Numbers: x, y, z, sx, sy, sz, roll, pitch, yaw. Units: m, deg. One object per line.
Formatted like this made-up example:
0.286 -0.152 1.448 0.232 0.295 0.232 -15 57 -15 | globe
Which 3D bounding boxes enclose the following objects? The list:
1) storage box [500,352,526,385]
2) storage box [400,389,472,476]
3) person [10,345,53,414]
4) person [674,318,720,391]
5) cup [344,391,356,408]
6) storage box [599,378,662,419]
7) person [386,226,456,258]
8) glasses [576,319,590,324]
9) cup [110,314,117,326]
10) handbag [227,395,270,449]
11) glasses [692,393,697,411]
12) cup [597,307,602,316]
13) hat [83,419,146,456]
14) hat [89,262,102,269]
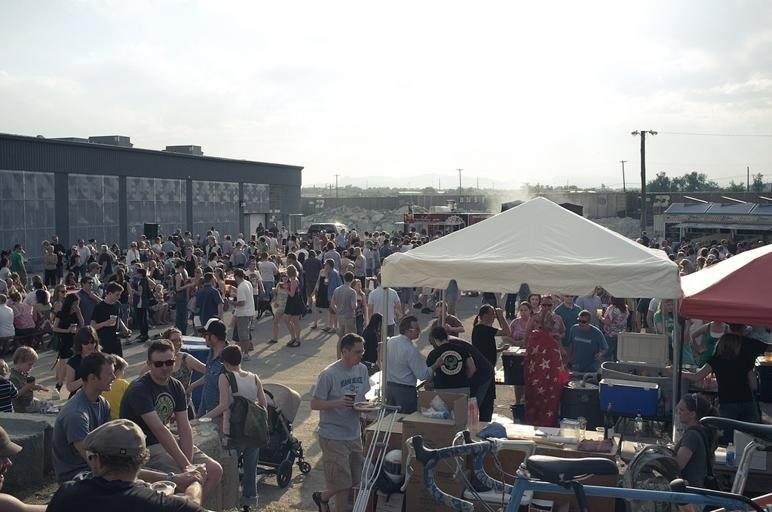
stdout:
2.404 2.151 15.020 0.481 0.593 0.598 -1 3 22 | storage box
0.840 2.624 11.815 0.974 1.423 0.975 -1 -3 27 | storage box
-6.239 2.180 13.783 0.650 1.204 0.553 -3 5 -29 | person
5.807 1.744 14.449 0.654 1.095 2.783 1 4 23 | person
-0.519 2.101 11.471 0.152 0.208 0.172 0 3 -2 | cup
3.998 2.386 13.075 0.958 0.495 0.601 1 -9 19 | storage box
1.012 -0.548 27.919 1.888 1.067 1.294 3 5 -6 | person
3.776 1.251 14.924 0.256 0.106 0.170 -1 3 -13 | glasses
-5.369 1.277 15.527 0.143 0.201 0.194 -1 3 -20 | cup
-2.083 2.492 11.712 0.397 0.700 0.713 -10 -13 35 | handbag
4.341 2.071 11.066 0.050 0.176 0.165 2 -1 -2 | glasses
4.771 1.249 17.588 0.148 0.143 0.153 0 10 0 | cup
-3.012 2.029 8.742 0.480 0.204 0.417 10 6 35 | hat
-8.170 0.267 22.098 0.188 0.102 0.299 7 4 39 | hat
